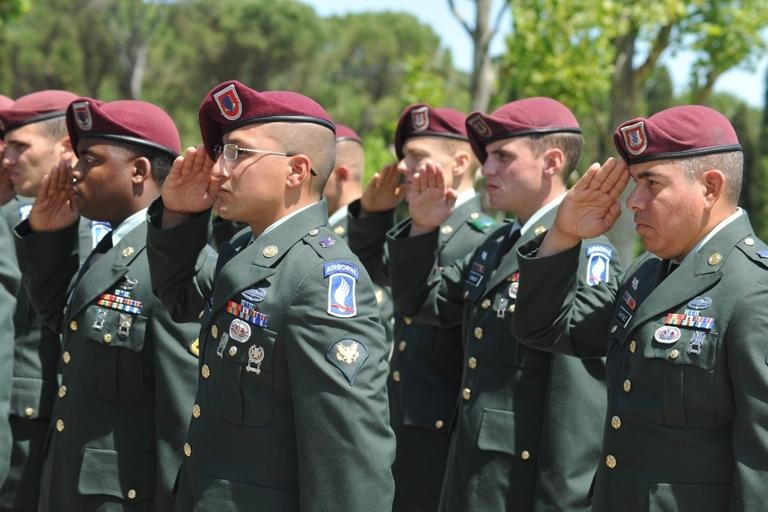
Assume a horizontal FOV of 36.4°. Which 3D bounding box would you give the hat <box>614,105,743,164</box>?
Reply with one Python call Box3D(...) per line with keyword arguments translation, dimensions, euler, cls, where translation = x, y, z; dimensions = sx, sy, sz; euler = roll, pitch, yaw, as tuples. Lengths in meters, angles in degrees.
Box3D(translation=(1.847, -0.733, 7.291), dimensions=(0.550, 0.209, 0.430), euler=(-1, -1, -15), cls="hat")
